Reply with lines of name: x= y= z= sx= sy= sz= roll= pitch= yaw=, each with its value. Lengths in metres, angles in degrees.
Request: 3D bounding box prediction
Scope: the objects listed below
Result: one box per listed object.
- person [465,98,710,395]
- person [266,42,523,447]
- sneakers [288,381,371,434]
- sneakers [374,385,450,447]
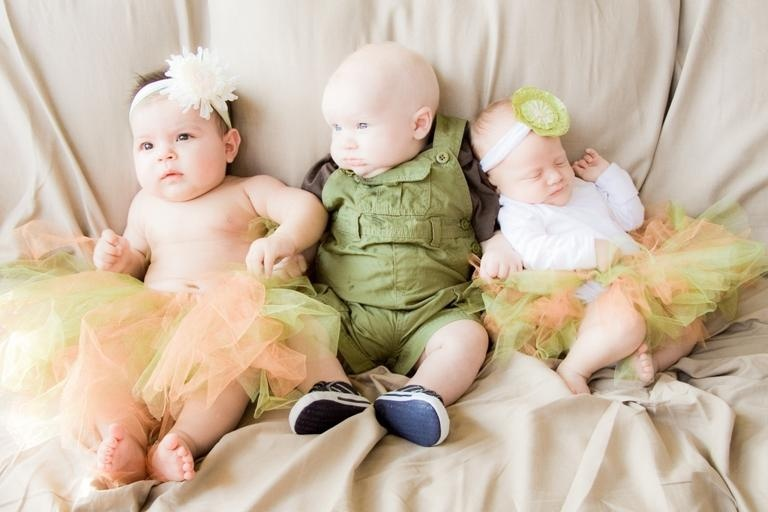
person: x=0.475 y=-0.010 z=1.831 sx=0.511 sy=0.295 sz=0.841 roll=-21 pitch=78 yaw=-22
person: x=0.004 y=-0.094 z=1.602 sx=0.637 sy=0.939 sz=0.844 roll=-3 pitch=8 yaw=4
sneakers: x=-0.121 y=0.351 z=1.460 sx=0.203 sy=0.092 sz=0.086 roll=-10 pitch=34 yaw=-31
sneakers: x=0.067 y=0.359 z=1.436 sx=0.122 sy=0.224 sz=0.100 roll=52 pitch=54 yaw=-11
